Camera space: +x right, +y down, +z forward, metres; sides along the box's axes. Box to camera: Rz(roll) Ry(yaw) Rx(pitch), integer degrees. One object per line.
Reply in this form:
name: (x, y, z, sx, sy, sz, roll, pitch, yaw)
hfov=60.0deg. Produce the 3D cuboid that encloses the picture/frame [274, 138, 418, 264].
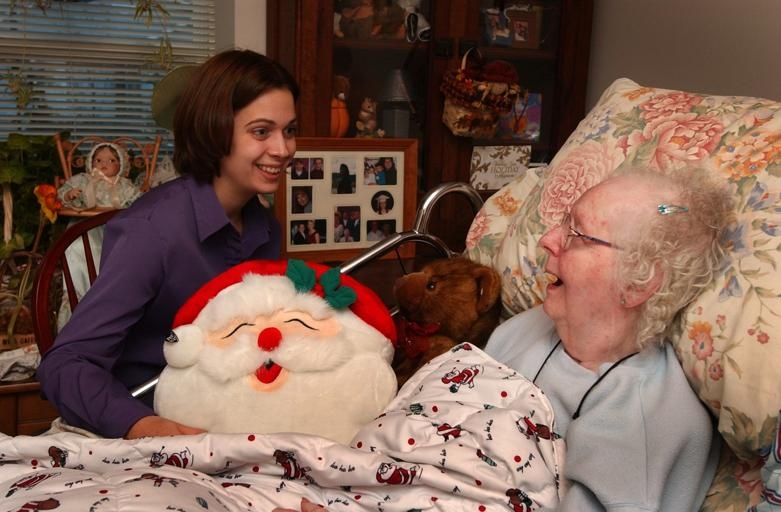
picture/frame: (-0.170, -0.194, 2.331, 0.466, 0.377, 0.033, 0, 5, -14)

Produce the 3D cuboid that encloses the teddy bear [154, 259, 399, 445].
teddy bear: (-0.272, 0.273, 1.597, 0.554, 0.234, 0.581, 4, 40, 3)

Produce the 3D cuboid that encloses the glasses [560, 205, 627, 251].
glasses: (0.463, -0.061, 1.541, 0.095, 0.029, 0.090, 11, 14, -15)
